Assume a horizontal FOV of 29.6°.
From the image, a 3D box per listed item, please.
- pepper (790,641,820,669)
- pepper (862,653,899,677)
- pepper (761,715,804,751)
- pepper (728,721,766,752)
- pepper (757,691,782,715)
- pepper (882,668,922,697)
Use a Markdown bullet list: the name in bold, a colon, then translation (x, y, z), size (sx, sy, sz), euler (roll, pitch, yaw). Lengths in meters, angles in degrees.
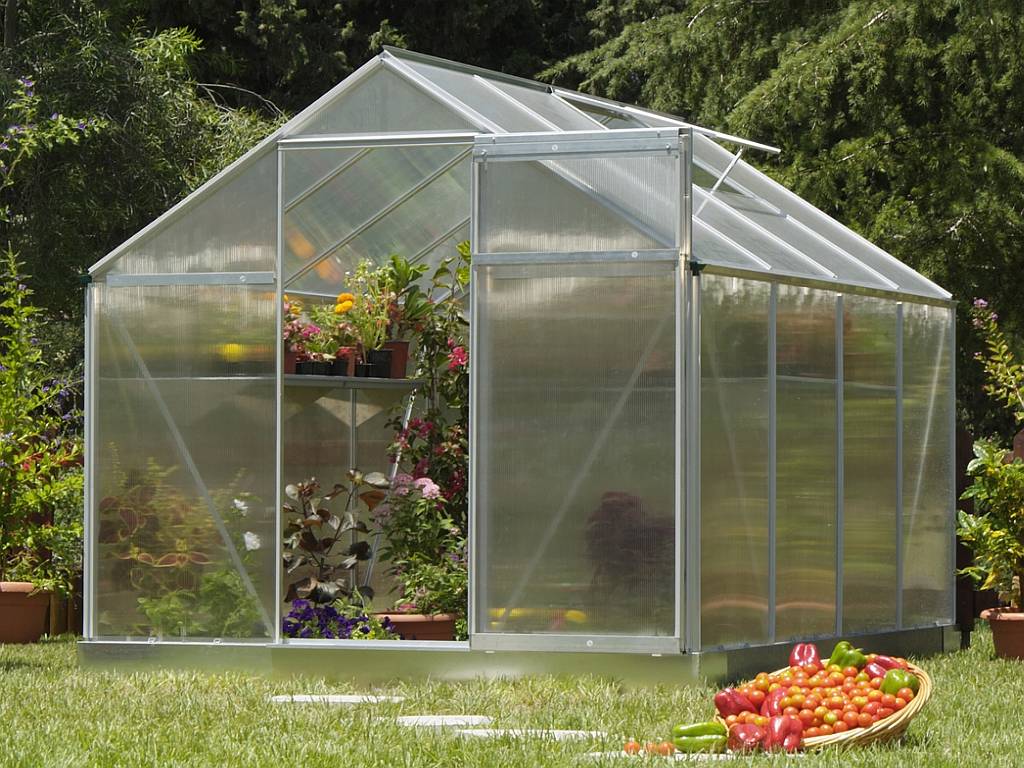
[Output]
- **pepper**: translation (2.421, 2.234, 16.079), size (0.196, 0.279, 0.204), euler (1, -1, -3)
- **pepper**: translation (2.971, 2.275, 15.820), size (0.157, 0.085, 0.198), euler (4, 9, -41)
- **pepper**: translation (2.154, 2.758, 15.347), size (0.226, 0.288, 0.253), euler (5, -19, -2)
- **pepper**: translation (1.873, 2.791, 15.399), size (0.217, 0.240, 0.209), euler (6, -16, -15)
- **pepper**: translation (2.087, 2.599, 15.661), size (0.109, 0.221, 0.074), euler (19, -17, 28)
- **pepper**: translation (3.100, 2.373, 15.510), size (0.201, 0.207, 0.206), euler (1, -6, 2)
